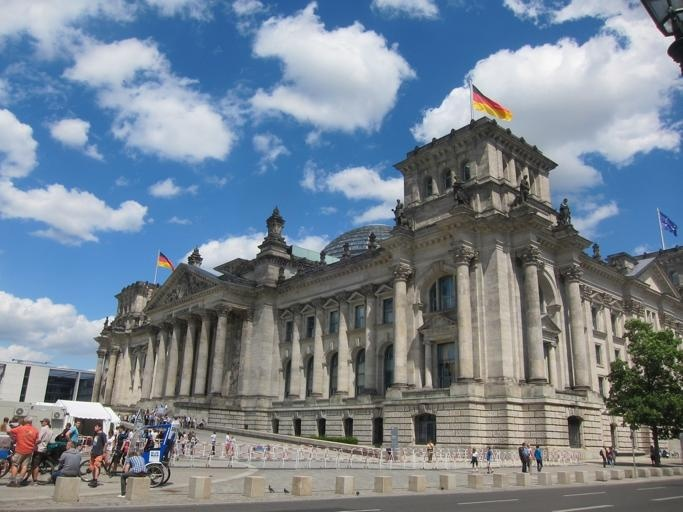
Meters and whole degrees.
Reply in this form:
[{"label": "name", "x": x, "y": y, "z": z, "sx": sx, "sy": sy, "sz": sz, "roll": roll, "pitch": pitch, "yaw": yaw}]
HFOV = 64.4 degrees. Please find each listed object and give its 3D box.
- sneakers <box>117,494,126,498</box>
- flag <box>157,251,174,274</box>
[{"label": "sneakers", "x": -8.584, "y": 9.352, "z": 21.138, "sx": 0.372, "sy": 0.146, "sz": 0.132, "roll": -14, "pitch": -34, "yaw": 34}, {"label": "flag", "x": -19.403, "y": 0.763, "z": 59.637, "sx": 2.512, "sy": 2.588, "sz": 0.392, "roll": 9, "pitch": -19, "yaw": -15}]
